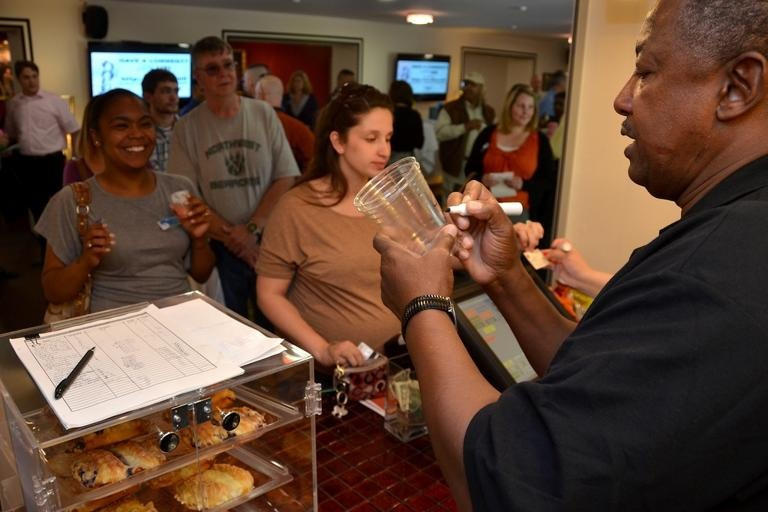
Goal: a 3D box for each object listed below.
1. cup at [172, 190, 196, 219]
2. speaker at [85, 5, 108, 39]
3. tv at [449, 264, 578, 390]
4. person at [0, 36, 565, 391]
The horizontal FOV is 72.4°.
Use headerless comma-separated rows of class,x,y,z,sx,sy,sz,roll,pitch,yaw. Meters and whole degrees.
cup,-0.905,-0.233,2.395,0.102,0.117,0.104,-2,-8,0
speaker,-1.182,-0.958,2.148,0.093,0.125,0.044,-1,21,-15
tv,0.527,0.285,2.194,0.497,0.121,0.465,-15,68,-47
person,-0.516,-0.205,2.068,1.509,1.578,0.572,2,11,-12
